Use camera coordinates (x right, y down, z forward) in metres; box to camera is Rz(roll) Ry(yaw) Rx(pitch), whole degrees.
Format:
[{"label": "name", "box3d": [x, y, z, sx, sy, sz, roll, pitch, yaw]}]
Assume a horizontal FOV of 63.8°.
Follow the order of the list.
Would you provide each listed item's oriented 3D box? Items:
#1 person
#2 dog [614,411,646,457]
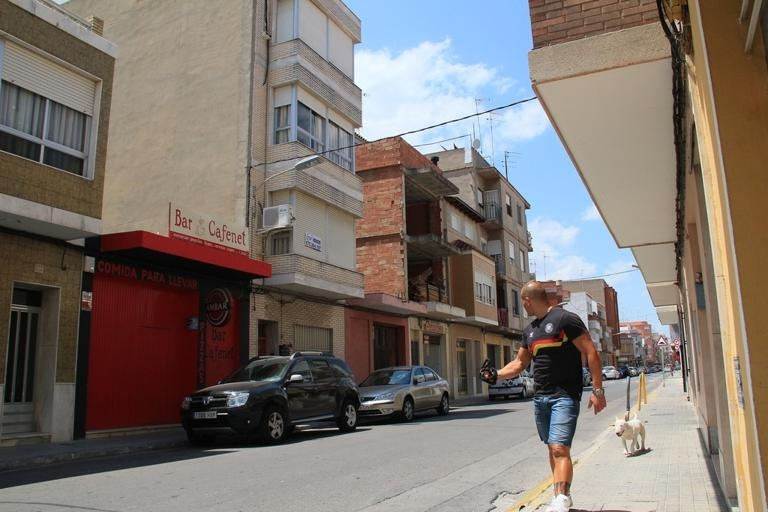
[{"label": "person", "box3d": [2.146, 1.666, 7.687, 1.104, 2.757, 0.629, -4, -11, 19]}, {"label": "dog", "box3d": [4.666, 3.330, 11.673, 0.308, 0.739, 1.282, -13, -15, 39]}]
